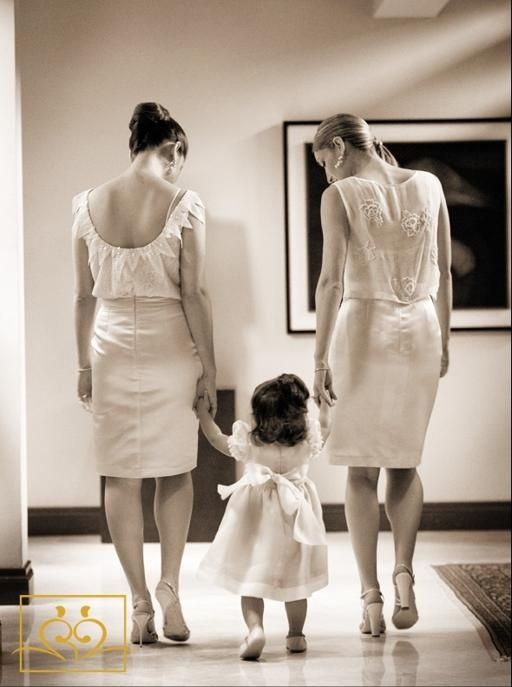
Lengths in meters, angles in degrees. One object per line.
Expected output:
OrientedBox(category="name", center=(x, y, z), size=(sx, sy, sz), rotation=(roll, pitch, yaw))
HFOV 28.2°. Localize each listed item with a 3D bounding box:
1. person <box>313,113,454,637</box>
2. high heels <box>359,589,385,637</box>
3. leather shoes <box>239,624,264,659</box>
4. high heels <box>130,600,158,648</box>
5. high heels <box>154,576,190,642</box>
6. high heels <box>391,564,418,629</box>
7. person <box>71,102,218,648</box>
OrientedBox(category="person", center=(0.383, 0.075, 3.432), size=(0.429, 1.678, 0.519), rotation=(3, 11, 31))
OrientedBox(category="high heels", center=(0.374, 0.875, 3.293), size=(0.057, 0.092, 0.170), rotation=(-2, 0, 2))
OrientedBox(category="leather shoes", center=(-0.019, 0.912, 3.099), size=(0.063, 0.113, 0.104), rotation=(7, 41, -10))
OrientedBox(category="high heels", center=(-0.357, 0.874, 3.223), size=(0.083, 0.152, 0.073), rotation=(-3, 9, -7))
OrientedBox(category="high heels", center=(-0.264, 0.840, 3.235), size=(0.085, 0.203, 0.058), rotation=(-13, -1, 14))
OrientedBox(category="high heels", center=(0.474, 0.811, 3.288), size=(0.069, 0.221, 0.112), rotation=(-2, 32, 5))
OrientedBox(category="person", center=(-0.348, 0.075, 3.300), size=(0.410, 1.689, 0.412), rotation=(-6, 10, -21))
